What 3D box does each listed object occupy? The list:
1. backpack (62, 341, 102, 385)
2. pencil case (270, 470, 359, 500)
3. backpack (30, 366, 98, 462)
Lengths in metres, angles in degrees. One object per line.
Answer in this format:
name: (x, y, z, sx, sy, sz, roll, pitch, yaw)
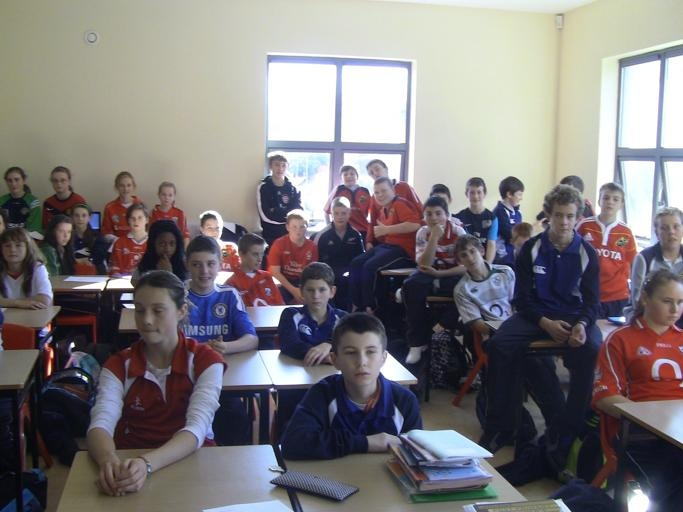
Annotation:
backpack: (-1.750, 0.724, 3.930, 0.236, 0.280, 0.257, 0, 10, -13)
pencil case: (-0.098, 0.845, 2.145, 0.320, 0.043, 0.085, 5, 10, 15)
backpack: (-1.660, 0.931, 3.585, 0.354, 0.578, 0.434, -8, 18, -42)
